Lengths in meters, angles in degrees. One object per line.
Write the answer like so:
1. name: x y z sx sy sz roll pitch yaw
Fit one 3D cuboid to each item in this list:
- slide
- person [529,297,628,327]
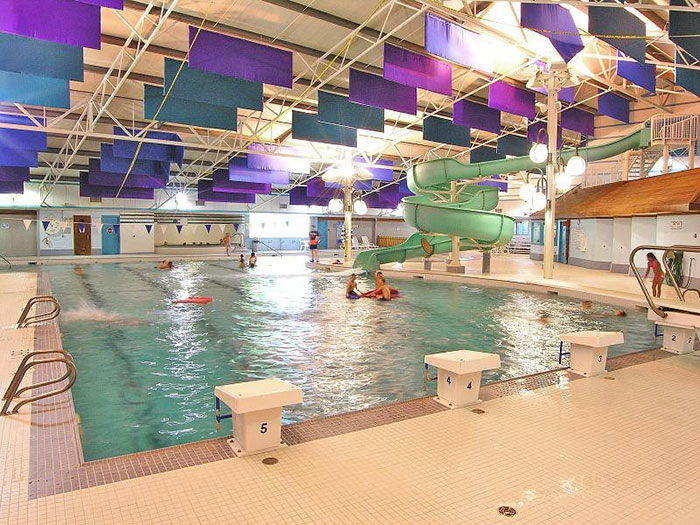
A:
1. slide: 5.697 -2.855 22.406 11.113 5.751 18.634 0 5 -1
2. person: 5.527 1.146 10.022 0.946 0.231 0.922 -2 6 -6
